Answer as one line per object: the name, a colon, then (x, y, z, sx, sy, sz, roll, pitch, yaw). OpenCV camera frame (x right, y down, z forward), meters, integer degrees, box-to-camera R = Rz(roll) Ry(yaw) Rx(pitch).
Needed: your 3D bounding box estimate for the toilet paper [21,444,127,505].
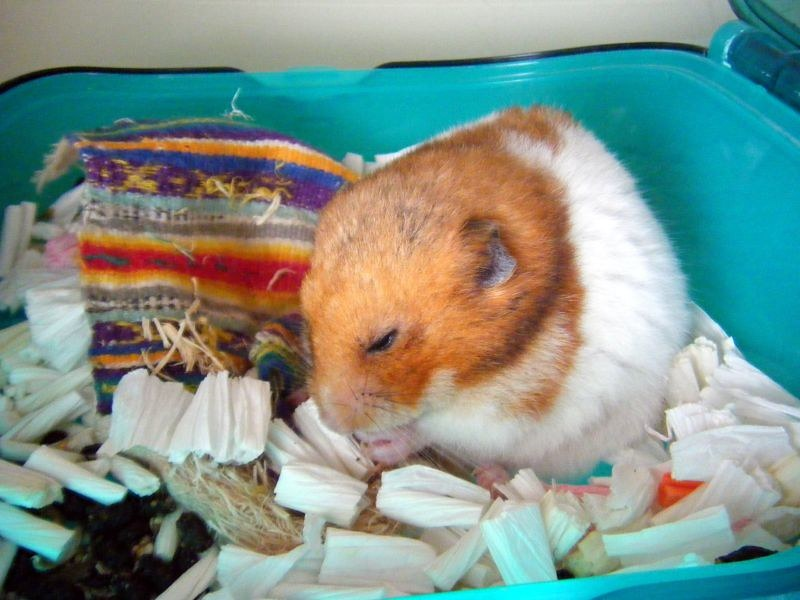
toilet paper: (-0.572, 0.309, 1.297, 0.222, 0.062, 0.076, 31, 82, 4)

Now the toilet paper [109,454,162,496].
toilet paper: (-0.471, 0.312, 1.267, 0.092, 0.033, 0.051, 39, 62, 18)

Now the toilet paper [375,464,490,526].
toilet paper: (0.059, 0.352, 1.253, 0.196, 0.061, 0.084, 14, 38, 6)

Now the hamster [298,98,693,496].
hamster: (0.095, -0.029, 1.589, 0.928, 0.638, 0.671, -11, 31, -19)

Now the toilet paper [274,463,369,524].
toilet paper: (-0.137, 0.338, 1.259, 0.145, 0.057, 0.090, 16, 84, 6)
